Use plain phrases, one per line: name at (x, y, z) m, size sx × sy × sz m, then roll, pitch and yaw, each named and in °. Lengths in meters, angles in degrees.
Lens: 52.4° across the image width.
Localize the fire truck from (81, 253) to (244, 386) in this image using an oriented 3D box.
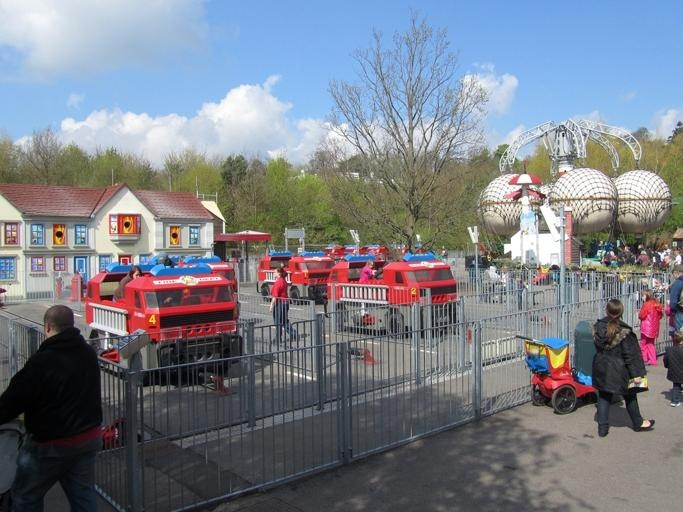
fire truck at (-3.735, 1.163, 14.508) m, size 2.272 × 2.009 × 3.217 m, roll 0°, pitch 0°, yaw -36°

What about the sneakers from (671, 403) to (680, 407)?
sneakers at (5.634, 2.511, 11.741) m, size 0.184 × 0.069 × 0.073 m, roll 3°, pitch 0°, yaw -35°
